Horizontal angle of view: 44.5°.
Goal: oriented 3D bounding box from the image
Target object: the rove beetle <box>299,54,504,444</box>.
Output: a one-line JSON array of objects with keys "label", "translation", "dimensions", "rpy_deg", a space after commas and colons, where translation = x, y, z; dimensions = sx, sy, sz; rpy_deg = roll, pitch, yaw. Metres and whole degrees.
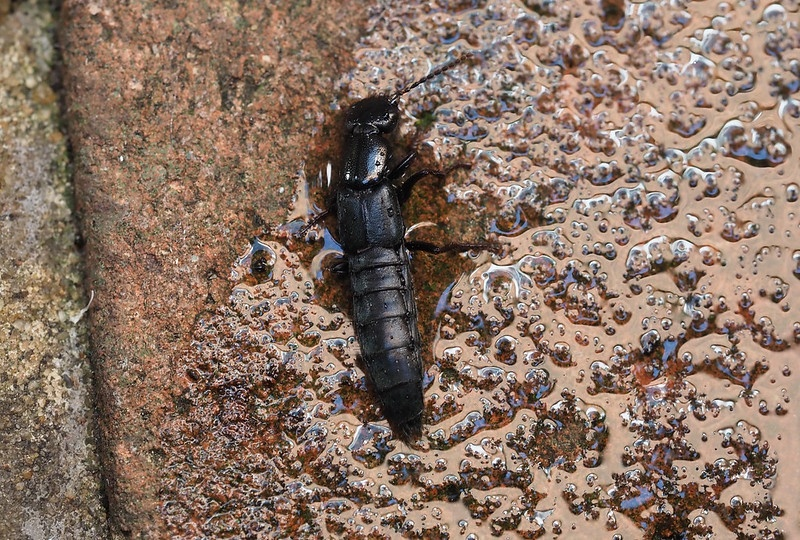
[{"label": "rove beetle", "translation": [-0.121, -0.118, 6.308], "dimensions": [0.852, 0.345, 2.079], "rpy_deg": [-7, 82, 1]}]
